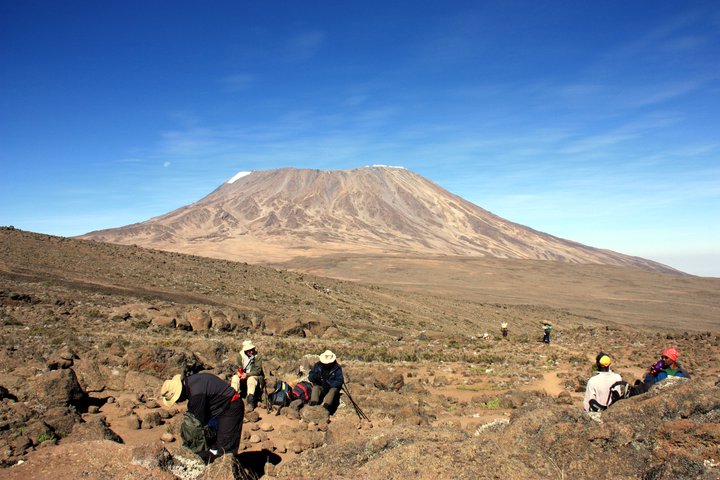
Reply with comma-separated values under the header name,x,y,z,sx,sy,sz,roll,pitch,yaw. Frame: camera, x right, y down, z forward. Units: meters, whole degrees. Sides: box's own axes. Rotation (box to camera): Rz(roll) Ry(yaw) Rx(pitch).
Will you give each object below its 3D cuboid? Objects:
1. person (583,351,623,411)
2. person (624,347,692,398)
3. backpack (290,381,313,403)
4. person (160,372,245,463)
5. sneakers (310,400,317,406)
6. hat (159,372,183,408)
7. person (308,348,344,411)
name,x,y,z,sx,sy,sz,roll,pitch,yaw
person,5.616,3.293,10.690,0.887,1.211,0.812,1,-3,-41
person,7.067,3.089,10.946,1.009,0.937,1.973,-2,-3,38
backpack,-1.634,4.359,13.401,0.452,0.551,0.603,6,-6,22
person,-3.360,3.914,10.049,1.661,1.934,1.019,-6,5,-27
sneakers,-1.293,4.596,13.071,0.220,0.110,0.176,0,-2,-7
hat,-3.874,3.132,9.579,0.386,0.588,0.426,0,-2,-27
person,-0.987,4.142,13.481,1.000,1.677,0.930,0,-2,-6
